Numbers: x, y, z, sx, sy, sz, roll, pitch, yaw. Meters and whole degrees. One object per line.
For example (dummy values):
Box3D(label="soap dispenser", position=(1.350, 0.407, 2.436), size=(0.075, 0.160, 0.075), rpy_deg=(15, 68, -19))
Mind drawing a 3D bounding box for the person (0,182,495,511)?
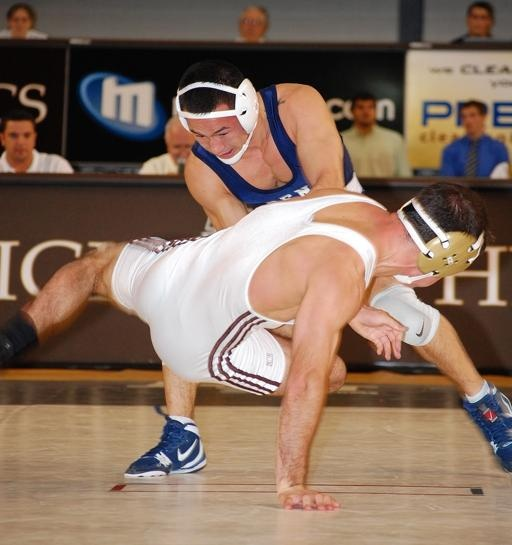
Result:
Box3D(label="person", position=(-0.112, 0.161, 2.240), size=(1.552, 0.792, 0.860), rpy_deg=(3, 49, -6))
